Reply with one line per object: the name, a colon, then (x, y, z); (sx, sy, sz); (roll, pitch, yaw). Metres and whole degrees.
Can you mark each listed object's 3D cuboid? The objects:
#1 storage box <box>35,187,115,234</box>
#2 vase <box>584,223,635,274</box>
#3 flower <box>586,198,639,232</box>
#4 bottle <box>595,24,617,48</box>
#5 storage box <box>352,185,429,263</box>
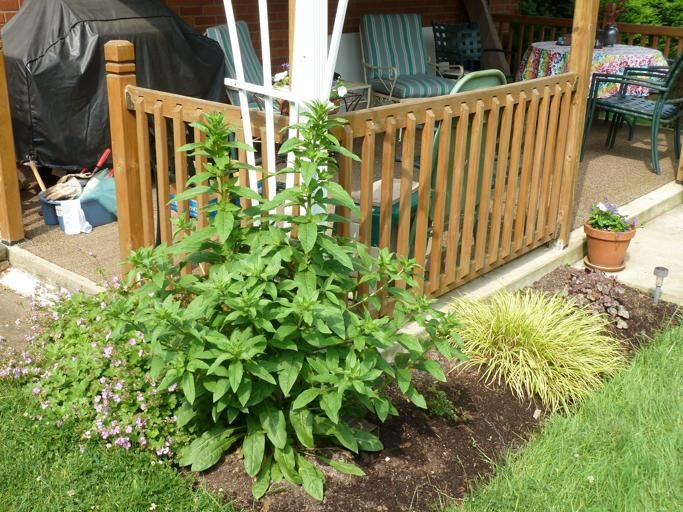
storage box: (-2.334, -0.383, 4.871); (0.373, 0.169, 0.492); (22, 28, 37)
vase: (2.182, -0.090, 4.579); (0.415, 0.355, 0.417); (8, 20, 25)
flower: (2.189, -0.312, 4.522); (0.305, 0.107, 0.295); (-8, 34, -12)
bottle: (3.430, -2.832, 7.124); (0.237, 0.364, 0.379); (3, 24, 6)
storage box: (0.326, -0.293, 3.765); (0.573, 0.506, 0.453); (2, 36, 6)
